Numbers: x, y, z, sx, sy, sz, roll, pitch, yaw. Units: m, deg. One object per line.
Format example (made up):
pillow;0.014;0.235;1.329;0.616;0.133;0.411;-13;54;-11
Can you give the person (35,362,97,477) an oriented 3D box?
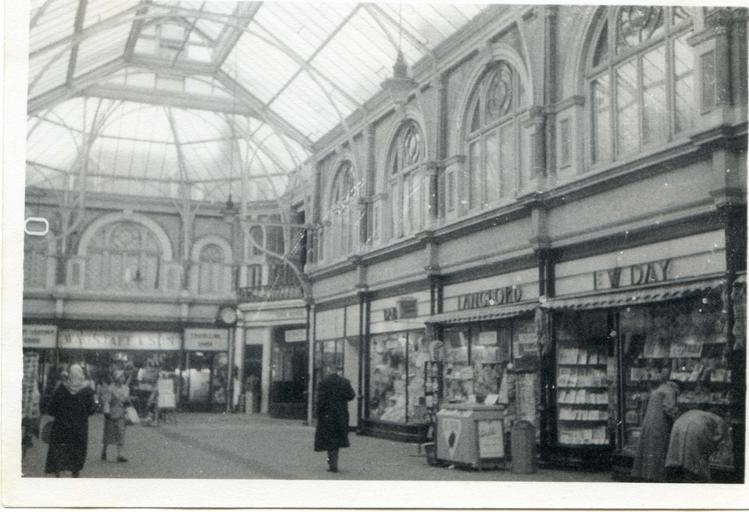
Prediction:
person;-4.058;2.194;13.960;0.623;1.458;0.269;5;-12;-17

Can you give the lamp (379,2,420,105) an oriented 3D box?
lamp;0.341;-2.917;15.304;0.489;1.212;0.905;-1;-12;10

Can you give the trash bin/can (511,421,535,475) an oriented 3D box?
trash bin/can;2.043;2.647;14.450;0.327;0.715;0.212;0;-12;9

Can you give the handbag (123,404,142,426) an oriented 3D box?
handbag;-3.306;2.186;14.314;0.185;0.332;0.290;-12;-8;18

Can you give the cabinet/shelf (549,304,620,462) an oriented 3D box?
cabinet/shelf;2.915;1.792;14.509;0.844;2.027;0.351;-1;-12;12

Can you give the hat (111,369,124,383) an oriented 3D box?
hat;-3.535;1.673;14.496;0.139;0.174;0.180;-2;8;2

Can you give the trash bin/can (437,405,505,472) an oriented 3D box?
trash bin/can;1.316;2.519;14.490;0.901;0.857;0.888;8;-15;-25

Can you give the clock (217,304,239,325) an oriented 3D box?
clock;-2.114;0.860;15.192;0.279;0.277;0.080;11;-7;-3

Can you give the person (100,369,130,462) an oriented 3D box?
person;-3.521;2.159;14.256;0.359;1.295;0.350;5;-12;-14

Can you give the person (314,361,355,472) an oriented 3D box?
person;-0.580;2.248;14.585;0.508;1.515;0.701;0;-12;7
